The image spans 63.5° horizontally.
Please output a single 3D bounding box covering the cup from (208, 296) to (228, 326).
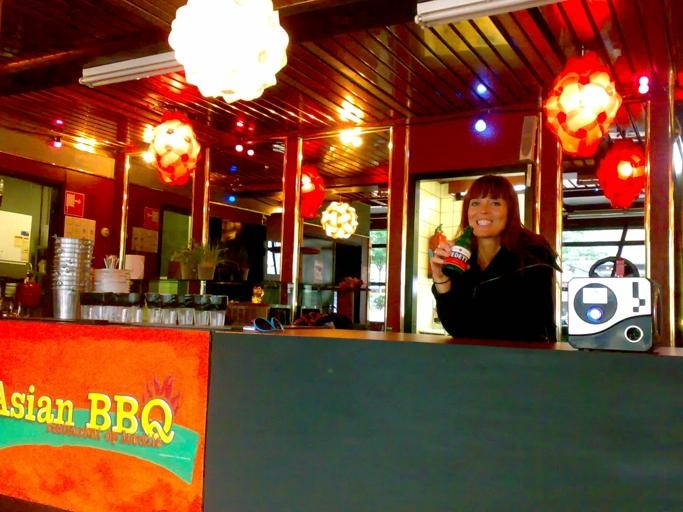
[{"bbox_3d":[-0.554,0.243,2.462,0.075,0.135,0.209,2,-6,-13],"label":"cup"}]

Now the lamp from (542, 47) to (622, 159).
[{"bbox_3d":[1.812,-1.123,4.069,0.496,0.582,0.542,3,-21,-39],"label":"lamp"}]

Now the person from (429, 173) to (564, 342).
[{"bbox_3d":[0.661,-0.023,2.405,0.529,0.762,0.513,-2,-7,22],"label":"person"}]

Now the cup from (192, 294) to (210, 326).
[{"bbox_3d":[-0.641,0.250,2.527,0.081,0.138,0.080,1,-3,0],"label":"cup"}]

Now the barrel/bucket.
[{"bbox_3d":[-1.459,0.114,2.983,0.193,0.441,0.260,4,-7,-28],"label":"barrel/bucket"}]

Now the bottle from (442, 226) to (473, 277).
[{"bbox_3d":[0.496,-0.033,2.359,0.121,0.232,0.298,-1,-6,12],"label":"bottle"}]

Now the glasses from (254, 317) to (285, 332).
[{"bbox_3d":[-0.314,0.291,2.339,0.119,0.052,0.229,1,-6,-10],"label":"glasses"}]

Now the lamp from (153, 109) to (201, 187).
[{"bbox_3d":[-1.584,-1.057,5.253,0.433,0.612,0.389,-2,-7,21],"label":"lamp"}]

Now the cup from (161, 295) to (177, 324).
[{"bbox_3d":[-0.780,0.242,2.513,0.056,0.130,0.091,6,-9,-41],"label":"cup"}]

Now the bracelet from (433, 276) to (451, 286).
[{"bbox_3d":[0.439,0.108,2.407,0.071,0.033,0.049,0,-6,1],"label":"bracelet"}]

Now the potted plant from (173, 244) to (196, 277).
[{"bbox_3d":[-1.966,0.087,7.046,0.403,0.429,0.380,0,-10,-6],"label":"potted plant"}]

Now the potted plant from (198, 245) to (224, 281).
[{"bbox_3d":[-1.677,0.100,7.126,0.225,0.461,0.606,1,-6,-1],"label":"potted plant"}]

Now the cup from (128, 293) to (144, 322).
[{"bbox_3d":[-0.966,0.240,2.589,0.067,0.134,0.066,0,-6,0],"label":"cup"}]

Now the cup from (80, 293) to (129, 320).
[{"bbox_3d":[-1.146,0.243,2.657,0.302,0.131,0.057,-3,-7,30],"label":"cup"}]

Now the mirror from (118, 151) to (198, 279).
[{"bbox_3d":[-2.810,-0.610,8.256,0.163,2.280,1.993,2,3,31],"label":"mirror"}]

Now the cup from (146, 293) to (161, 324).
[{"bbox_3d":[-0.874,0.238,2.541,0.097,0.132,0.042,-3,-7,29],"label":"cup"}]

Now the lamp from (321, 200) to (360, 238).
[{"bbox_3d":[-0.025,-0.558,8.750,0.568,0.591,0.576,0,-1,-6],"label":"lamp"}]
